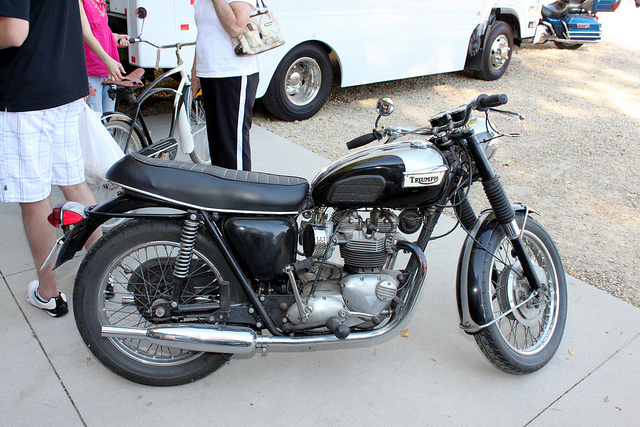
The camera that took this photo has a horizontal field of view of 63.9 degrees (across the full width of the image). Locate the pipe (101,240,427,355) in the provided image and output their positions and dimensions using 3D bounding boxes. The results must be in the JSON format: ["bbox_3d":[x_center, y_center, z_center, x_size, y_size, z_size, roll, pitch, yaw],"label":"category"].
[{"bbox_3d":[-0.240,0.687,3.408,1.684,0.235,0.941,3,28,-5],"label":"pipe"}]

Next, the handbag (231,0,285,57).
[{"bbox_3d":[-0.511,-1.537,4.237,0.226,0.407,0.440,23,36,28],"label":"handbag"}]

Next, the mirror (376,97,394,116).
[{"bbox_3d":[0.442,-0.731,3.490,0.105,0.154,0.156,7,32,5],"label":"mirror"}]
